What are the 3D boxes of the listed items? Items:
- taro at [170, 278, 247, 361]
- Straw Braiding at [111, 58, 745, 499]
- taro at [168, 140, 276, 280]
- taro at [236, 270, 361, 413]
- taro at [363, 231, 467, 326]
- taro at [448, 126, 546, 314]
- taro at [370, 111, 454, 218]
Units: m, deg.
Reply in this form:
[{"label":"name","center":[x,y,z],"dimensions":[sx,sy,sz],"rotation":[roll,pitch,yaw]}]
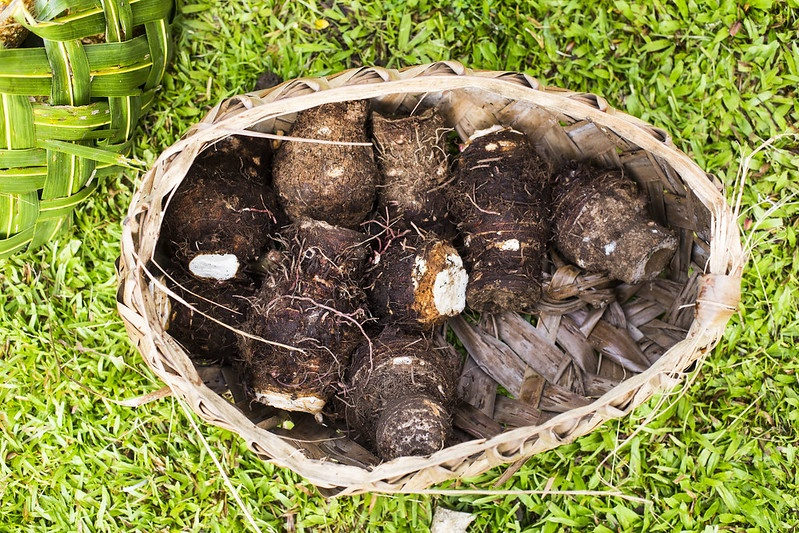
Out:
[{"label":"taro","center":[-0.524,0.165,1.948],"dimensions":[0.194,0.128,0.231],"rotation":[-17,87,-13]},{"label":"Straw Braiding","center":[0.099,0.001,1.874],"dimensions":[1.500,0.458,1.134],"rotation":[-22,85,-1]},{"label":"taro","center":[-0.512,-0.165,2.021],"dimensions":[0.293,0.170,0.380],"rotation":[27,80,-17]},{"label":"taro","center":[-0.262,0.196,1.859],"dimensions":[0.331,0.176,0.368],"rotation":[11,103,-1]},{"label":"taro","center":[0.040,0.006,2.048],"dimensions":[0.303,0.284,0.277],"rotation":[-8,105,-38]},{"label":"taro","center":[0.272,-0.115,1.972],"dimensions":[0.267,0.241,0.500],"rotation":[1,85,6]},{"label":"taro","center":[0.031,-0.283,2.033],"dimensions":[0.204,0.147,0.308],"rotation":[0,90,-11]}]
